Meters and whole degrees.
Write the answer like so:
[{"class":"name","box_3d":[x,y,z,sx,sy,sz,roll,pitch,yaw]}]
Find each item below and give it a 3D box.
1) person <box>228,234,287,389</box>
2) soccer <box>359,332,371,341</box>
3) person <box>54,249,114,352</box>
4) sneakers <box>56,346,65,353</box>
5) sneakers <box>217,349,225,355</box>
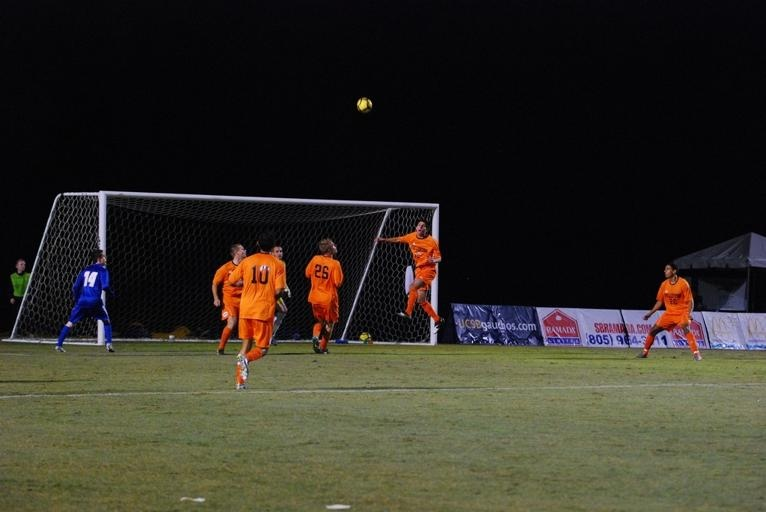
[{"class":"person","box_3d":[-1.583,0.771,9.242,0.562,1.753,0.673,6,-13,-23]},{"class":"soccer","box_3d":[-0.455,1.993,18.371,0.179,0.220,0.524,7,-13,-26]},{"class":"person","box_3d":[-5.586,0.829,14.220,0.977,2.002,1.327,5,-13,-19]},{"class":"sneakers","box_3d":[-6.021,1.739,13.853,0.143,0.106,0.201,-17,14,-18]},{"class":"sneakers","box_3d":[-3.103,1.822,14.189,0.117,0.103,0.111,1,-1,1]}]
